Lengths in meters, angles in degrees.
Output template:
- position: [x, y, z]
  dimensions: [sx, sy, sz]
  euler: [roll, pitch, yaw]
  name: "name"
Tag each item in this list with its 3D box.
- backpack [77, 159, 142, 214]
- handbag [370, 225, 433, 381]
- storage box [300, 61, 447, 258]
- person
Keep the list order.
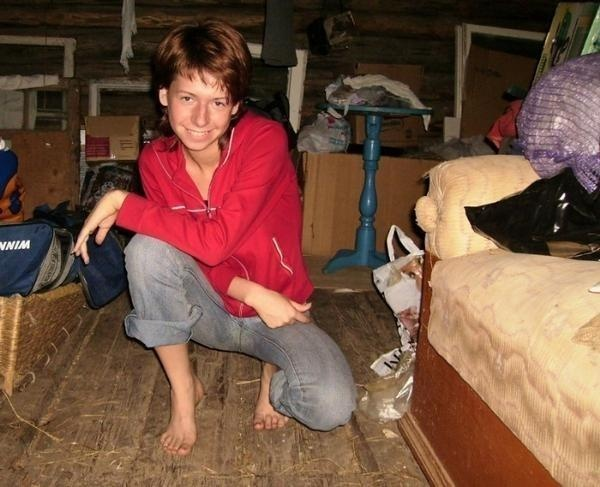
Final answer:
- position: [-1.484, -0.365, 3.632]
  dimensions: [0.281, 0.367, 0.390]
  euler: [15, 0, -11]
  name: "backpack"
- position: [0.338, 0.223, 1.687]
  dimensions: [0.167, 0.553, 0.463]
  euler: [5, 16, 9]
  name: "handbag"
- position: [0.372, -0.646, 3.455]
  dimensions: [1.095, 1.619, 0.910]
  euler: [0, 12, -3]
  name: "storage box"
- position: [-0.231, -0.013, 1.341]
  dimensions: [0.677, 1.153, 0.698]
  euler: [3, 9, 43]
  name: "person"
